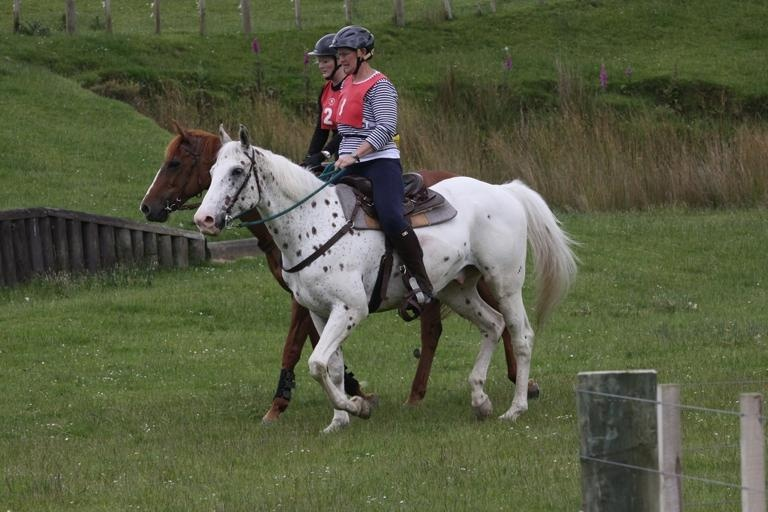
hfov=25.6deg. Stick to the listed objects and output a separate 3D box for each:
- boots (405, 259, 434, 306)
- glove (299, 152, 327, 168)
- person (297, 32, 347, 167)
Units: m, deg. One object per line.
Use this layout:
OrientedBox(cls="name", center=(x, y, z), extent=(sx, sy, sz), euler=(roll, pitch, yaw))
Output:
OrientedBox(cls="boots", center=(0.926, 0.606, 44.775), extent=(0.678, 1.167, 0.443), euler=(-12, 5, -2))
OrientedBox(cls="glove", center=(-1.864, -2.633, 45.470), extent=(0.535, 0.178, 0.402), euler=(-27, 9, -10))
OrientedBox(cls="person", center=(-1.488, -4.373, 45.667), extent=(1.115, 3.645, 1.327), euler=(12, -7, -38))
